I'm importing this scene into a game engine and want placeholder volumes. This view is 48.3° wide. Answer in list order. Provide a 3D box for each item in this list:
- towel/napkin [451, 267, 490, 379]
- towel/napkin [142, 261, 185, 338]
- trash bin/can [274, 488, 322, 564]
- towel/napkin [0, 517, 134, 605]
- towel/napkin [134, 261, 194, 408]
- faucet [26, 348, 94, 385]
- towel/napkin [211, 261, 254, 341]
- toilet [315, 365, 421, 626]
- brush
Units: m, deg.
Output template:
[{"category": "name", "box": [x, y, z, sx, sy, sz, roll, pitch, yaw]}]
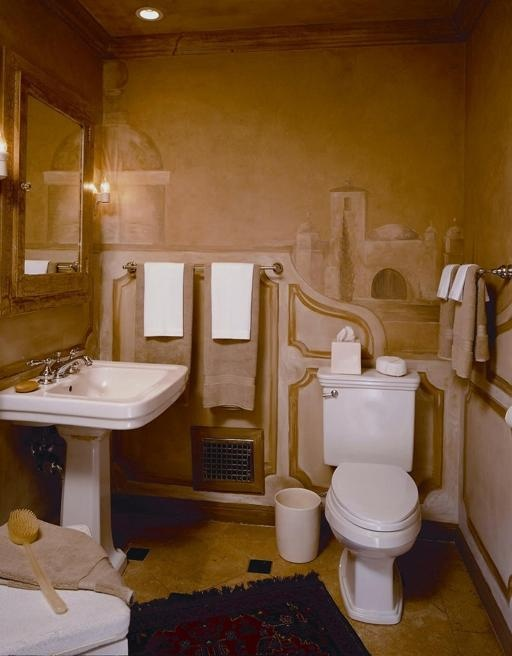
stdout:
[{"category": "towel/napkin", "box": [0.756, -0.033, 1.995, 0.111, 0.374, 0.202, 2, 7, 14]}, {"category": "towel/napkin", "box": [-0.403, -0.125, 2.485, 0.181, 0.311, 0.063, 1, 6, 0]}, {"category": "trash bin/can", "box": [0.169, 0.794, 2.361, 0.208, 0.251, 0.231, 0, 7, 2]}, {"category": "towel/napkin", "box": [-0.445, 0.527, 1.292, 0.158, 0.023, 0.180, 8, 13, -8]}, {"category": "towel/napkin", "box": [-0.399, -0.106, 2.496, 0.229, 0.459, 0.054, 0, -34, -8]}, {"category": "faucet", "box": [-0.740, 0.143, 2.124, 0.108, 0.059, 0.164, 0, 9, 9]}, {"category": "towel/napkin", "box": [-0.103, -0.109, 2.432, 0.180, 0.330, 0.075, 0, 6, -4]}, {"category": "toilet", "box": [0.420, 0.600, 2.110, 0.351, 0.779, 0.712, 0, 10, 5]}, {"category": "brush", "box": [-0.512, 0.513, 1.302, 0.085, 0.076, 0.478, 3, 7, -26]}]
